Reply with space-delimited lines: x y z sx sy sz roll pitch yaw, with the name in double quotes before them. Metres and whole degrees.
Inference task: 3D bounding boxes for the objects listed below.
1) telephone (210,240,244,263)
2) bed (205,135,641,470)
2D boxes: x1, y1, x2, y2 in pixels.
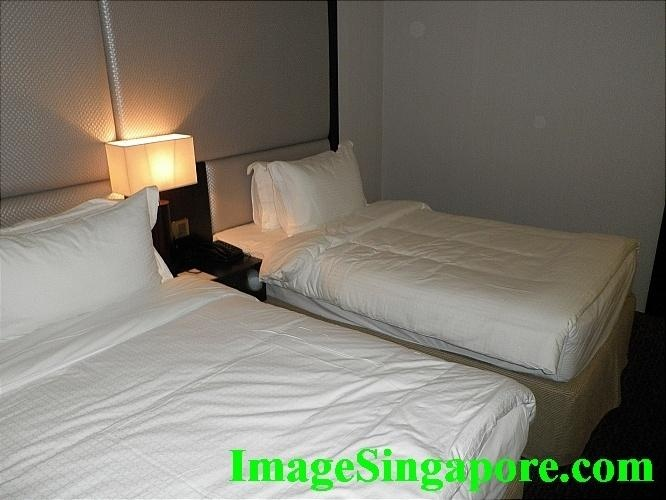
"telephone" -0.693 -0.001 2.844 0.144 0.035 0.156 30 27 24
"bed" 0.597 0.153 3.167 2.559 1.242 1.634 10 27 33
